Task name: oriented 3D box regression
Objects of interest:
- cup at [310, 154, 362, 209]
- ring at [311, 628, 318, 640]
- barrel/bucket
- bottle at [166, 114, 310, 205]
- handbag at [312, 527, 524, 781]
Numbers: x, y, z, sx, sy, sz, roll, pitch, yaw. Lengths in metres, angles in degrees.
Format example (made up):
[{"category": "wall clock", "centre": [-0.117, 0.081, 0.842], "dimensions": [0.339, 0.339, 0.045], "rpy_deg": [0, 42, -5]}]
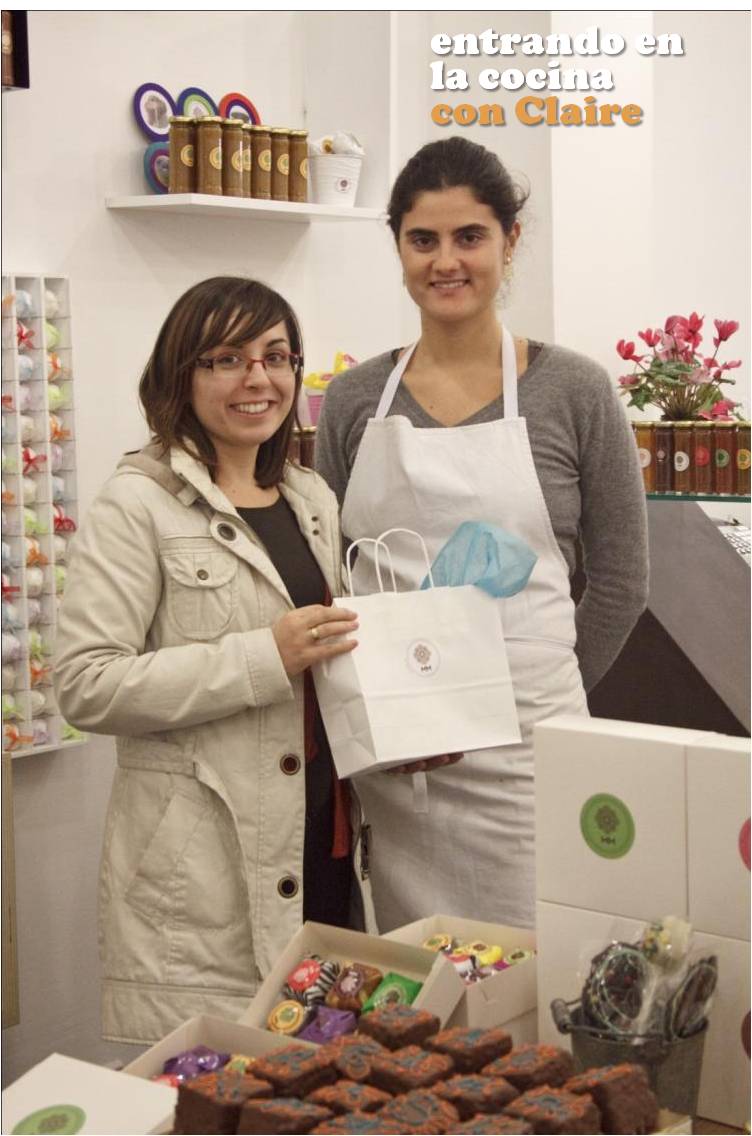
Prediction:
[{"category": "cup", "centre": [-0.107, -1.045, 2.609], "dimensions": [0.135, 0.113, 0.148], "rpy_deg": [-1, 0, 0]}, {"category": "ring", "centre": [-0.075, 0.082, 1.166], "dimensions": [0.012, 0.011, 0.012], "rpy_deg": [-7, 2, 0]}, {"category": "barrel/bucket", "centre": [0.207, 0.381, 0.780], "dimensions": [0.105, 0.077, 0.095], "rpy_deg": [1, -3, 0]}, {"category": "bottle", "centre": [-0.362, -1.037, 2.422], "dimensions": [0.278, 0.137, 0.096], "rpy_deg": [-8, 13, -37]}, {"category": "handbag", "centre": [0.058, 0.119, 1.244], "dimensions": [0.281, 0.367, 0.134], "rpy_deg": [-17, -11, -7]}]
